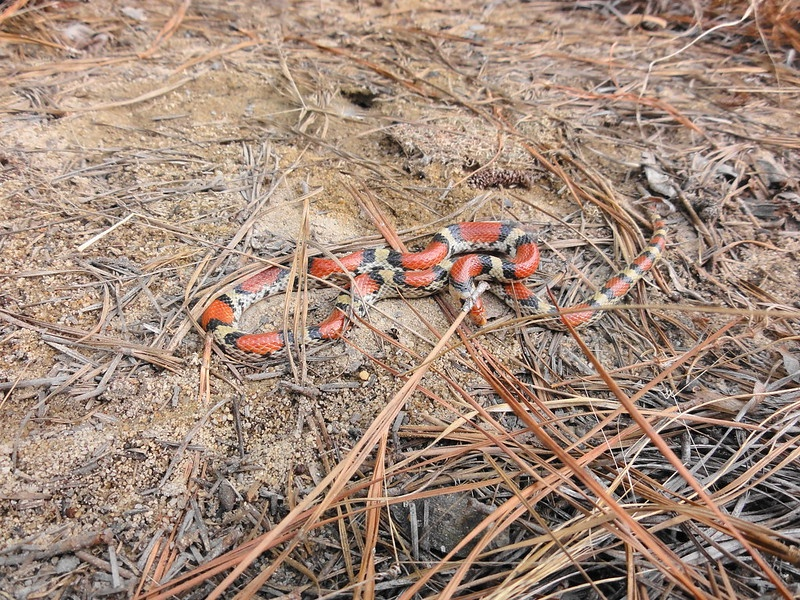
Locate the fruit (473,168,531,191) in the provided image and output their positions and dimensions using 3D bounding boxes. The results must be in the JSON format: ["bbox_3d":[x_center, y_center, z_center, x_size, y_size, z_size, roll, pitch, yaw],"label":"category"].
[{"bbox_3d":[1.027,-1.372,8.088,0.907,0.185,0.276,3,11,0],"label":"fruit"}]
